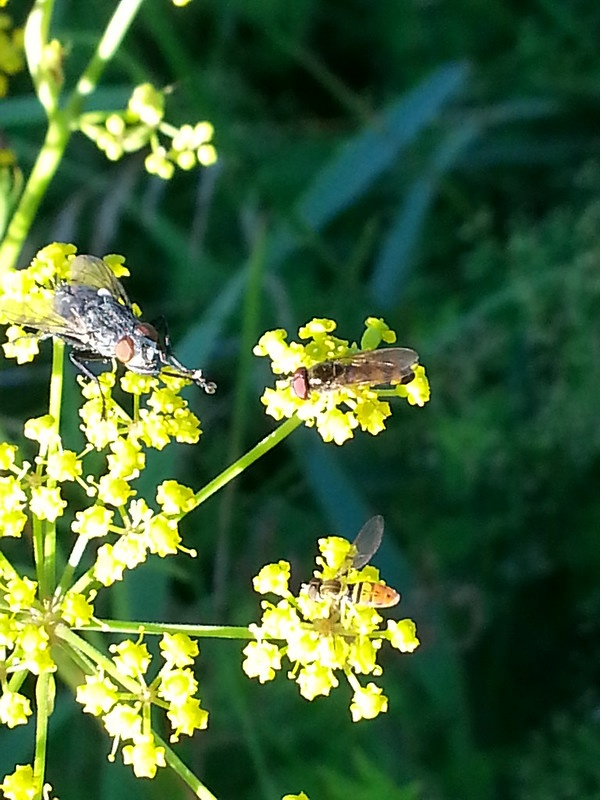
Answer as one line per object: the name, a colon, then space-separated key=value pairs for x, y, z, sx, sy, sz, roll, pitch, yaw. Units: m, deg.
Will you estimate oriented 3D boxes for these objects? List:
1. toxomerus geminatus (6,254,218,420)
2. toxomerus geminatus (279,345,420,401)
toxomerus geminatus: x=-0.519 y=-0.227 z=2.546 sx=0.479 sy=0.474 sz=0.418 roll=7 pitch=-67 yaw=13
toxomerus geminatus: x=0.156 y=-0.049 z=2.361 sx=0.350 sy=0.093 sz=0.217 roll=-12 pitch=-9 yaw=4
